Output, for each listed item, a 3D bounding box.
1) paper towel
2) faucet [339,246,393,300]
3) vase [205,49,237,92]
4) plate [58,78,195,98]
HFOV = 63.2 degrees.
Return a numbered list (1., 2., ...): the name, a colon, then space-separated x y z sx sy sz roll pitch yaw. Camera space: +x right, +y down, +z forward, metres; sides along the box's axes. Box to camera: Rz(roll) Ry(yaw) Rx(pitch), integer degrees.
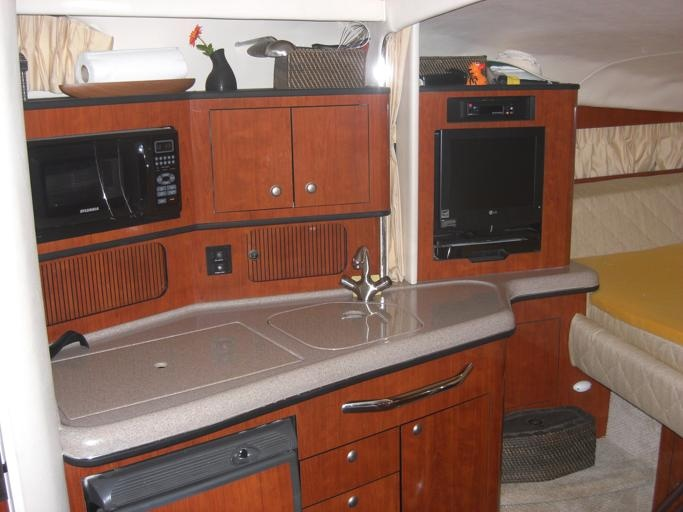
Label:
1. paper towel: -0.742 -0.683 1.988 0.352 0.116 0.098 -6 15 -13
2. faucet: 0.094 0.073 2.392 0.228 0.202 0.125 -2 10 15
3. vase: -0.484 -0.728 2.181 0.117 0.160 0.065 -4 15 -3
4. plate: -0.756 -0.604 1.994 0.452 0.055 0.099 -9 15 -22
